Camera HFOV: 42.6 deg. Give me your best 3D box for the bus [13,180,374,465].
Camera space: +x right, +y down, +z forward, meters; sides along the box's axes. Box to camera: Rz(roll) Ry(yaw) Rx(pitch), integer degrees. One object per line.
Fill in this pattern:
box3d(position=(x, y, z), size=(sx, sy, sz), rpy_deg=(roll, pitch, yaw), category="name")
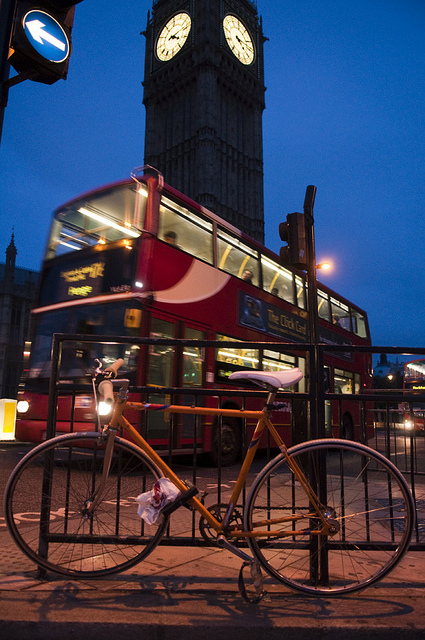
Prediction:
box3d(position=(0.674, 0.728, 11.280), size=(2.816, 3.810, 9.666), rpy_deg=(-7, -14, 33), category="bus")
